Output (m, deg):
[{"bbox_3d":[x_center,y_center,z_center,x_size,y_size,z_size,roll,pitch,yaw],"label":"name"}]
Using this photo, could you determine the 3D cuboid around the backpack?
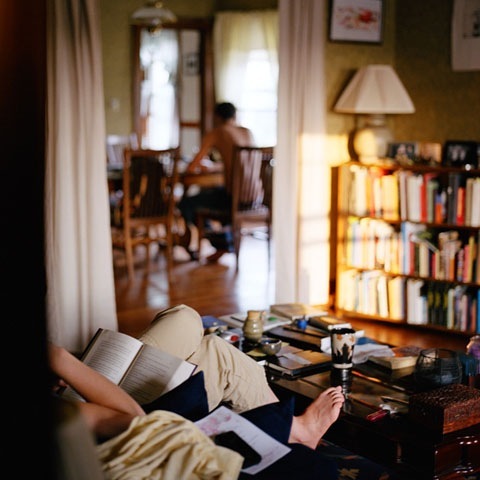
[{"bbox_3d":[-0.806,-0.467,4.083,0.339,0.507,0.127,0,5,-28],"label":"backpack"}]

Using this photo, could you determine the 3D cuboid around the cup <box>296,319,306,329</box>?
[{"bbox_3d":[0.315,0.428,2.362,0.038,0.047,0.040,-1,3,0],"label":"cup"}]

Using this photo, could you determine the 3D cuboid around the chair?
[{"bbox_3d":[-0.427,-0.422,4.617,1.671,1.279,0.958,-7,11,-30],"label":"chair"}]

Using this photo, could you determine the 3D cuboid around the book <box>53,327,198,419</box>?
[{"bbox_3d":[-0.342,0.416,1.549,0.408,0.172,0.188,4,14,13],"label":"book"}]

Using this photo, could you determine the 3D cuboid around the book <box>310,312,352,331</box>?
[{"bbox_3d":[0.471,0.420,2.356,0.130,0.034,0.134,4,1,-22],"label":"book"}]

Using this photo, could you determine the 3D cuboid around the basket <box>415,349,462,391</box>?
[{"bbox_3d":[0.747,0.468,1.767,0.143,0.132,0.146,-2,-1,-22],"label":"basket"}]

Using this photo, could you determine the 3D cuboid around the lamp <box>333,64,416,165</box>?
[{"bbox_3d":[0.972,-0.955,3.508,0.417,0.708,0.517,-6,15,-24],"label":"lamp"}]

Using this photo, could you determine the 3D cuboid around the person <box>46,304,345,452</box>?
[{"bbox_3d":[-0.065,0.432,1.492,0.869,0.405,0.555,3,-39,-10],"label":"person"}]
